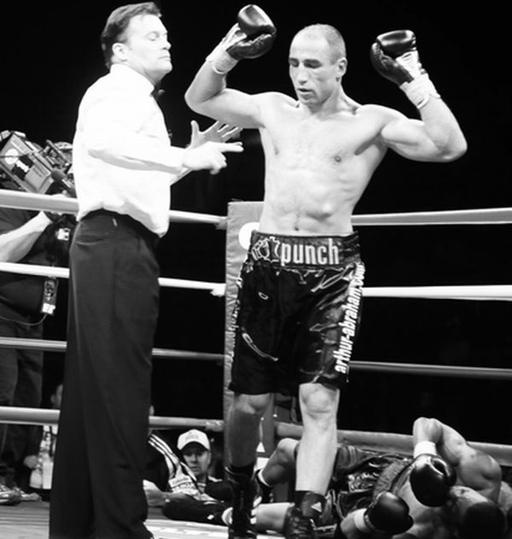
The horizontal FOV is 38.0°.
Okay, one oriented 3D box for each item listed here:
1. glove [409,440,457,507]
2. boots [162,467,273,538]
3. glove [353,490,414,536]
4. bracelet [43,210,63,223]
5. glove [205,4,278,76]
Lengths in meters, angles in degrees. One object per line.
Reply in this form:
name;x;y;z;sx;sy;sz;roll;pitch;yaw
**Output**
glove;0.414;0.466;1.745;0.102;0.067;0.177;3;3;12
boots;-0.134;0.695;2.227;0.245;0.080;0.235;1;-7;21
glove;0.304;0.565;1.743;0.047;0.092;0.130;-32;0;-43
bracelet;-0.727;-0.191;2.697;0.054;0.025;0.064;7;-2;-20
glove;-0.009;-0.582;1.955;0.214;0.116;0.085;-36;-23;22
